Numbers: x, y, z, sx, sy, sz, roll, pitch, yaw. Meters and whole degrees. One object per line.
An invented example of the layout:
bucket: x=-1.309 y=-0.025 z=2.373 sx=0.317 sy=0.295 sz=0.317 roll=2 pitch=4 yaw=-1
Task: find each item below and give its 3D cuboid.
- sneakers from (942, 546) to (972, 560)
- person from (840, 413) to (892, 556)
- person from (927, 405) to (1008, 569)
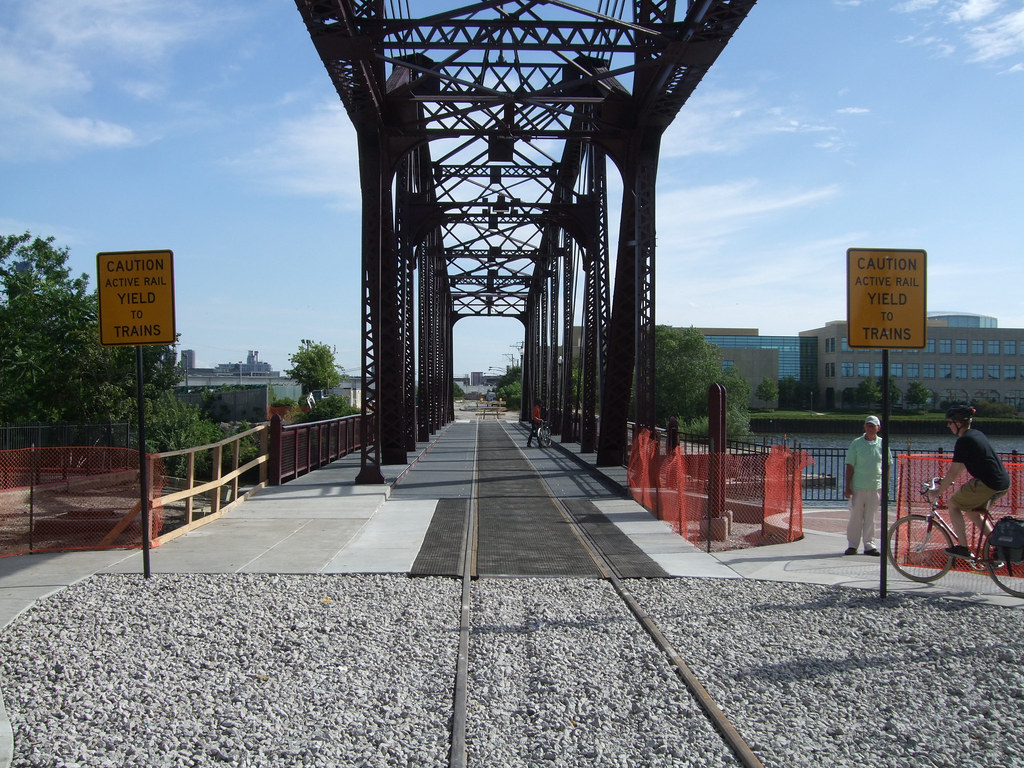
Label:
sneakers: x=5.183 y=1.922 z=10.201 sx=0.108 sy=0.138 sz=0.298 roll=3 pitch=8 yaw=-39
person: x=4.906 y=1.386 z=12.207 sx=0.449 sy=1.877 sz=0.755 roll=1 pitch=2 yaw=22
person: x=5.353 y=1.149 z=10.202 sx=0.730 sy=1.801 sz=1.402 roll=1 pitch=2 yaw=29
